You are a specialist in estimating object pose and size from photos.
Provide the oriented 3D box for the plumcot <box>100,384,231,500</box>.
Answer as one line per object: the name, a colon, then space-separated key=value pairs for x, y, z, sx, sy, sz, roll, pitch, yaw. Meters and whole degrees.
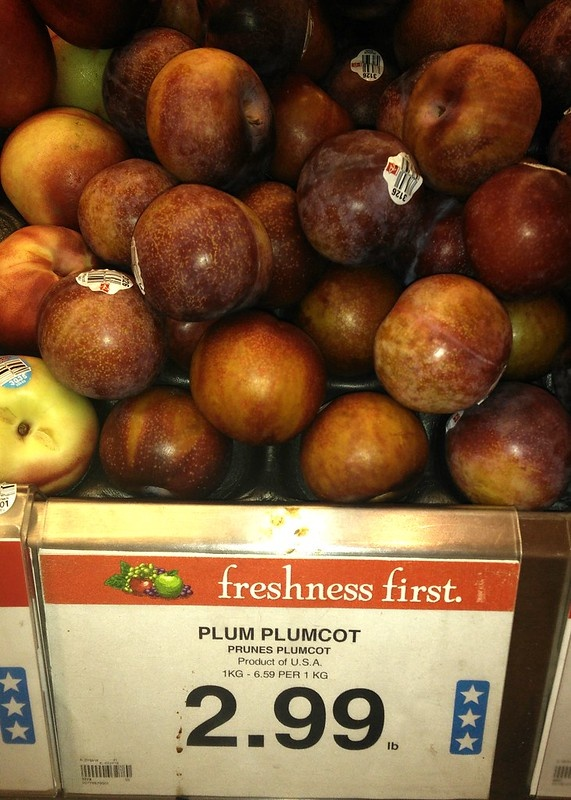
plumcot: x=-0.141 y=0.051 z=0.932 sx=0.139 sy=0.131 sz=0.126 roll=3 pitch=66 yaw=20
